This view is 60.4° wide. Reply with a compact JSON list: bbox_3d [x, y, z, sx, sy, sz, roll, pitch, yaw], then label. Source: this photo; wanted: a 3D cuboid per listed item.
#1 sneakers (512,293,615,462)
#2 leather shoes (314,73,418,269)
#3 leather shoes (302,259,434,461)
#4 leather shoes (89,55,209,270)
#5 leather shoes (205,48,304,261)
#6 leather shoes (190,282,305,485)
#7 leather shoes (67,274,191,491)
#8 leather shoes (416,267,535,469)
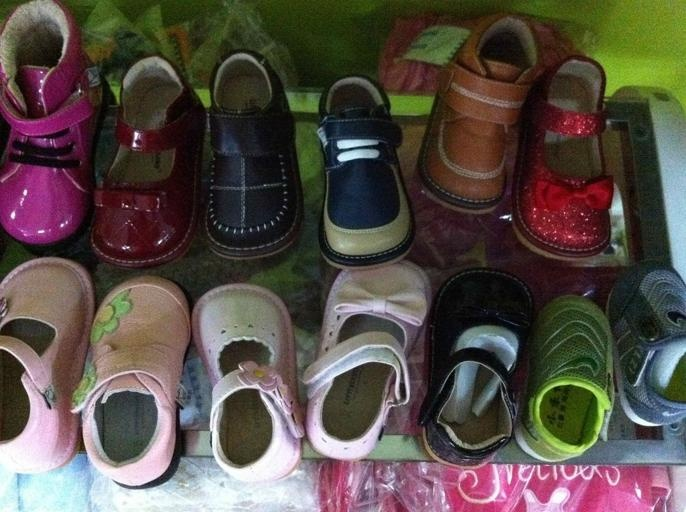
[{"bbox_3d":[0.559,0.305,1.500,0.201,0.188,0.464,9,88,13],"label":"sneakers"},{"bbox_3d":[0.052,-0.170,1.495,0.216,0.203,0.537,-4,77,2],"label":"leather shoes"},{"bbox_3d":[0.064,0.232,1.523,0.263,0.197,0.572,12,91,5],"label":"leather shoes"},{"bbox_3d":[-0.505,-0.222,1.592,0.250,0.213,0.579,3,81,-2],"label":"leather shoes"},{"bbox_3d":[-0.216,-0.215,1.497,0.237,0.205,0.550,-3,90,-3],"label":"leather shoes"},{"bbox_3d":[-0.244,0.290,1.478,0.241,0.191,0.552,-4,81,-3],"label":"leather shoes"},{"bbox_3d":[-0.517,0.281,1.454,0.252,0.190,0.509,1,84,-3],"label":"leather shoes"},{"bbox_3d":[0.332,0.258,1.498,0.248,0.199,0.526,8,90,8],"label":"leather shoes"}]
